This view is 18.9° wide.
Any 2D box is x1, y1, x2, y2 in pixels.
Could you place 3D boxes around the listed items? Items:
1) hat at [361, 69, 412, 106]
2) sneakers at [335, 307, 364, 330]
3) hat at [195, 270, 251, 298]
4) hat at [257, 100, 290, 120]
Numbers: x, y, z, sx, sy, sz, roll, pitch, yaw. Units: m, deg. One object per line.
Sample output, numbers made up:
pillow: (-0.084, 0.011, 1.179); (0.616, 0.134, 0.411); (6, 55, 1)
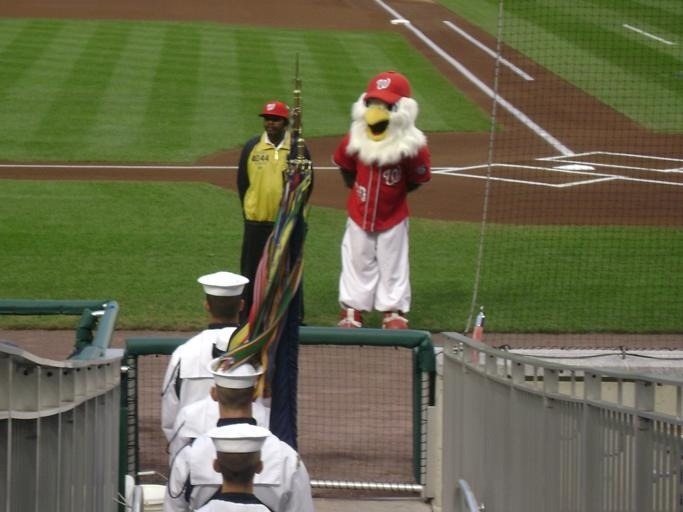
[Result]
hat: (0.627, -2.385, 28.729); (0.627, 0.426, 0.809); (12, 23, 34)
sneakers: (0.110, 0.881, 28.524); (0.342, 0.271, 0.228); (0, -1, 2)
hat: (-1.545, 0.367, 26.173); (0.464, 0.138, 0.378); (4, 17, 11)
hat: (-0.903, -2.038, 28.780); (0.338, 0.208, 0.417); (2, 0, 17)
